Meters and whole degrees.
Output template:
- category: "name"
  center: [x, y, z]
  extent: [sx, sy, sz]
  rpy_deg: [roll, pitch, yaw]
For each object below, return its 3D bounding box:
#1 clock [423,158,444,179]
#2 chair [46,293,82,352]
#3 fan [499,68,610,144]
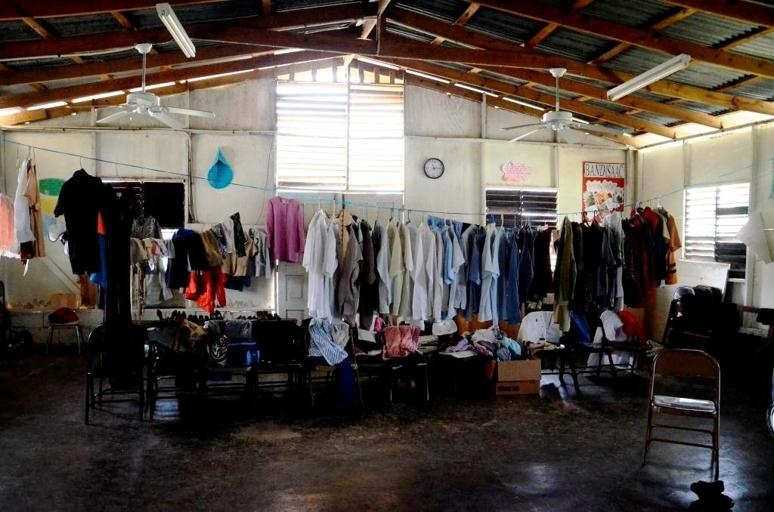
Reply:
- category: "clock"
  center: [0.851, -1.677, 12.572]
  extent: [0.393, 0.415, 0.069]
  rpy_deg: [0, -1, -12]
- category: "chair"
  center: [-5.888, 1.221, 11.973]
  extent: [0.613, 1.054, 0.558]
  rpy_deg: [-1, 1, -20]
- category: "fan"
  center: [2.753, -2.243, 10.916]
  extent: [1.466, 0.984, 1.496]
  rpy_deg: [5, 7, 39]
